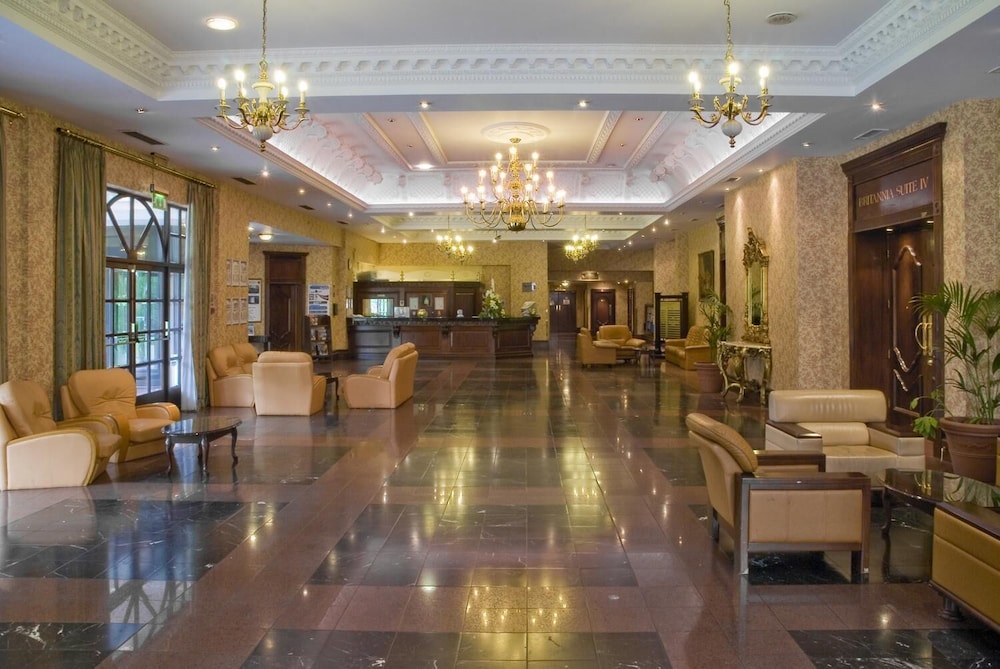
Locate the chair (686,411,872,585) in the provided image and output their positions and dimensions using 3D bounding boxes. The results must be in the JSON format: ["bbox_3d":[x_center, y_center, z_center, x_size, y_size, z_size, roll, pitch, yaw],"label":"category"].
[{"bbox_3d":[2.459,1.447,6.633,1.513,1.327,1.313,-1,0,0],"label":"chair"}]

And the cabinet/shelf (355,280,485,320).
[{"bbox_3d":[-2.592,-1.213,22.078,4.238,1.375,0.773,-8,15,-26],"label":"cabinet/shelf"}]

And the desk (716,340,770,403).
[{"bbox_3d":[4.660,0.651,12.904,0.928,1.363,1.468,2,-2,-1],"label":"desk"}]

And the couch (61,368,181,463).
[{"bbox_3d":[-5.114,1.045,9.384,1.463,1.429,1.103,0,1,26],"label":"couch"}]

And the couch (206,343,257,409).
[{"bbox_3d":[-4.829,0.718,12.326,0.755,1.000,1.092,-7,15,-23],"label":"couch"}]

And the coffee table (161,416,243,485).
[{"bbox_3d":[-3.683,1.354,8.622,0.865,0.511,0.753,-4,-6,40],"label":"coffee table"}]

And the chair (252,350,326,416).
[{"bbox_3d":[-3.532,0.767,11.718,1.069,1.035,1.026,1,0,0],"label":"chair"}]

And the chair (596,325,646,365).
[{"bbox_3d":[3.308,0.211,19.142,1.216,1.064,1.190,1,-5,4],"label":"chair"}]

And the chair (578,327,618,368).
[{"bbox_3d":[2.545,0.328,18.019,0.903,1.037,1.082,0,2,-3],"label":"chair"}]

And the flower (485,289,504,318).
[{"bbox_3d":[-0.220,-0.866,20.105,0.731,0.992,0.722,0,-7,-3],"label":"flower"}]
